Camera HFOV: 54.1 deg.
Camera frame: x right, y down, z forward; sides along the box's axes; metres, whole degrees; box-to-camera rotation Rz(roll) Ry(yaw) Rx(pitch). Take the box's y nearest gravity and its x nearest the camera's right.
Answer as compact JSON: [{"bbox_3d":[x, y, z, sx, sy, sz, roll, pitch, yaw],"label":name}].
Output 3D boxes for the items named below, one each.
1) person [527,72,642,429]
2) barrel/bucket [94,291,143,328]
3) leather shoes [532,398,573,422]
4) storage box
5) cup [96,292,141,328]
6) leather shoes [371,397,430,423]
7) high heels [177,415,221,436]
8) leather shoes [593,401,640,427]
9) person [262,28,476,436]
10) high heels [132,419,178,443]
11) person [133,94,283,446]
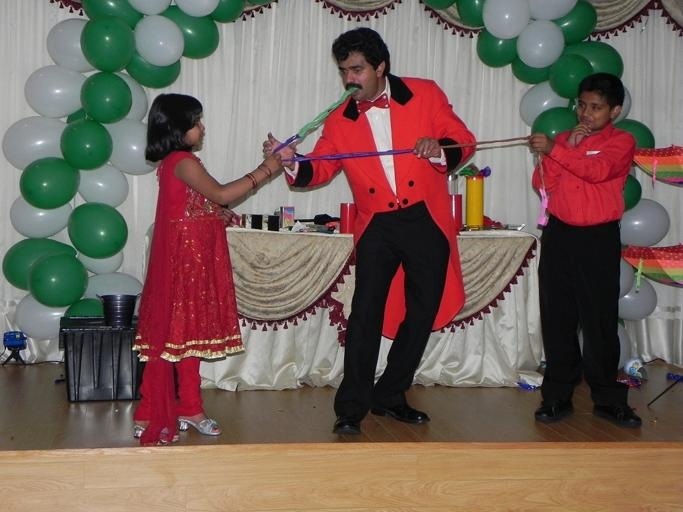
[{"bbox_3d":[1.343,-0.024,3.701,0.580,1.903,0.539,-2,-8,14],"label":"person"},{"bbox_3d":[-1.363,0.328,4.117,0.204,0.159,0.192,0,-8,0],"label":"barrel/bucket"},{"bbox_3d":[1.205,0.868,3.803,0.237,0.112,0.088,0,0,-31],"label":"leather shoes"},{"bbox_3d":[-1.456,0.662,4.086,0.517,0.436,0.457,-1,3,-8],"label":"storage box"},{"bbox_3d":[-1.365,0.332,4.116,0.207,0.161,0.190,0,-6,0],"label":"cup"},{"bbox_3d":[0.338,0.868,3.769,0.330,0.152,0.130,3,4,21],"label":"leather shoes"},{"bbox_3d":[-0.750,0.885,3.579,0.228,0.077,0.098,2,10,12],"label":"high heels"},{"bbox_3d":[1.541,0.878,3.746,0.085,0.109,0.256,-6,5,-32],"label":"leather shoes"},{"bbox_3d":[0.267,-0.114,3.600,0.959,2.082,0.643,0,-8,-4],"label":"person"},{"bbox_3d":[-0.963,0.908,3.443,0.188,0.069,0.111,0,0,5],"label":"high heels"},{"bbox_3d":[-0.770,0.059,3.537,0.573,1.801,0.538,2,-8,-19],"label":"person"}]
